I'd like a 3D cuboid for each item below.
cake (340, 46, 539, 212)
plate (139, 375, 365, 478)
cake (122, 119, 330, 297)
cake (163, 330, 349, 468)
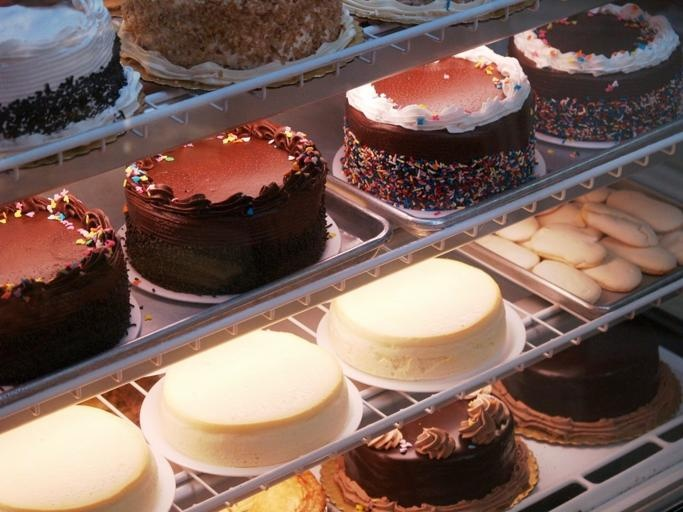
[{"bbox_3d":[0.286,-0.305,1.787,0.454,0.234,0.440,-18,26,-31],"label":"cake"},{"bbox_3d":[-0.284,0.402,1.593,0.312,0.003,0.311,3,23,1],"label":"plate"},{"bbox_3d":[-0.202,-0.076,1.544,0.427,0.202,0.412,-20,40,-25],"label":"cake"},{"bbox_3d":[-0.225,0.335,1.747,0.481,0.110,0.476,9,25,22],"label":"cake"}]
